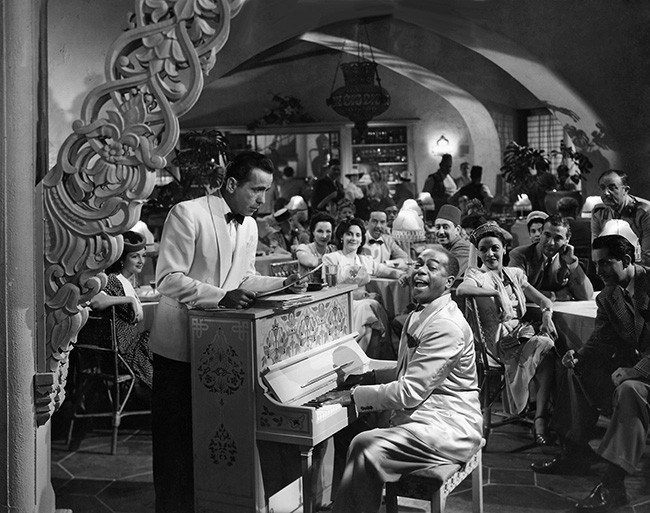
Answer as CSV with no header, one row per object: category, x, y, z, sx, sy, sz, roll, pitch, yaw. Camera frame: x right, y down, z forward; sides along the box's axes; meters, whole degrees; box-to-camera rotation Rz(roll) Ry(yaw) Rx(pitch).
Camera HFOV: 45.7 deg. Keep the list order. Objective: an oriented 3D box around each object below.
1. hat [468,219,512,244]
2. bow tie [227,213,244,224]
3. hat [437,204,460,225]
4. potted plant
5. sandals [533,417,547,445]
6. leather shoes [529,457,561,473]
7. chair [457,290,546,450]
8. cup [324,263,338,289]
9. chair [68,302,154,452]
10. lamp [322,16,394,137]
hat,1.178,-0.177,5.675,0.265,0.132,0.310,4,-2,9
bow tie,-0.458,-0.188,3.890,0.027,0.063,0.097,9,13,42
hat,1.141,-0.388,7.160,0.187,0.144,0.201,8,-23,34
potted plant,1.968,-0.592,6.338,0.318,0.664,0.266,-1,-6,33
sandals,1.432,1.161,5.158,0.063,0.182,0.102,8,-23,2
leather shoes,1.410,1.354,4.978,0.226,0.093,0.086,3,-8,-17
chair,1.253,0.722,5.392,0.637,1.031,0.526,4,10,19
cup,0.020,0.103,4.170,0.092,0.157,0.097,0,6,0
chair,-1.551,0.777,5.474,0.567,1.041,1.031,-2,10,-14
lamp,0.318,-1.884,7.762,0.627,1.269,0.620,-2,1,-43
